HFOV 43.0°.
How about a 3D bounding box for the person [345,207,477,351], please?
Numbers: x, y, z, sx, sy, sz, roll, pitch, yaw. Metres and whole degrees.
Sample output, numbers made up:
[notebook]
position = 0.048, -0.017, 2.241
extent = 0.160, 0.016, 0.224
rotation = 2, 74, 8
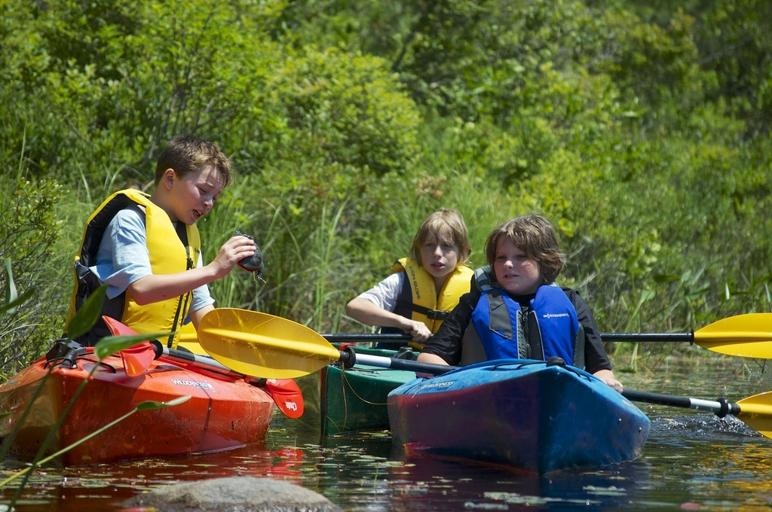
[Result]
[person]
position = 0.252, 0.235, 8.866
extent = 0.971, 1.440, 0.562
rotation = 17, -11, 2
